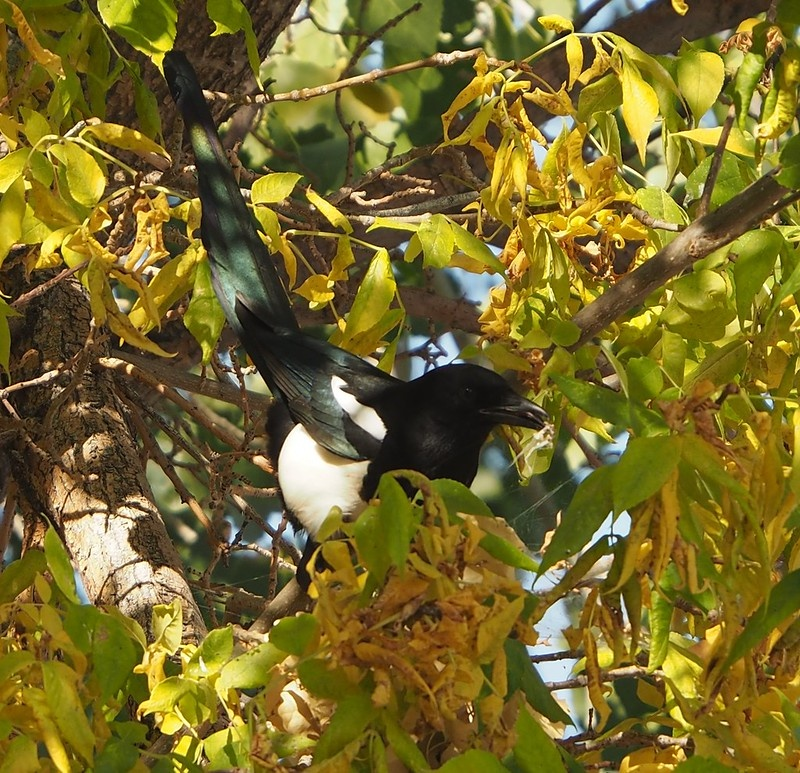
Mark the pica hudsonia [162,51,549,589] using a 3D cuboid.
[{"bbox_3d":[-0.113,-0.086,3.736,1.011,0.296,0.839,31,110,36],"label":"pica hudsonia"}]
